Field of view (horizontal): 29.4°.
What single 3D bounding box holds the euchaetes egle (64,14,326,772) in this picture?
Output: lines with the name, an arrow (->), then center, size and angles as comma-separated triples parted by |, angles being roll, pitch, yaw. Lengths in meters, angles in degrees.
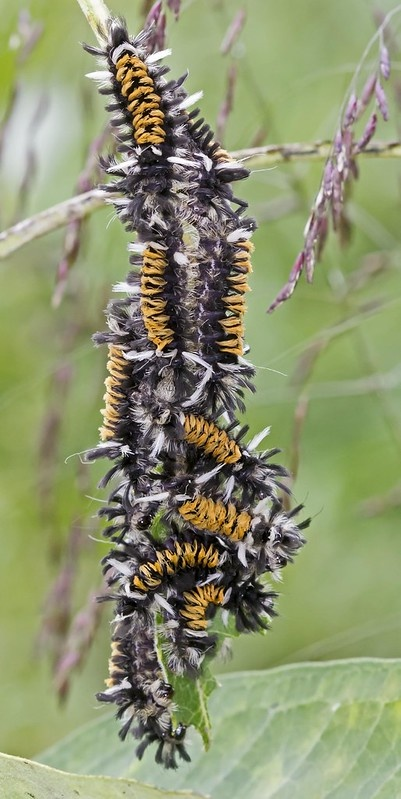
euchaetes egle -> -0.016, -0.001, 0.644 | 0.183, 0.575, 0.105 | -1, 3, -18
